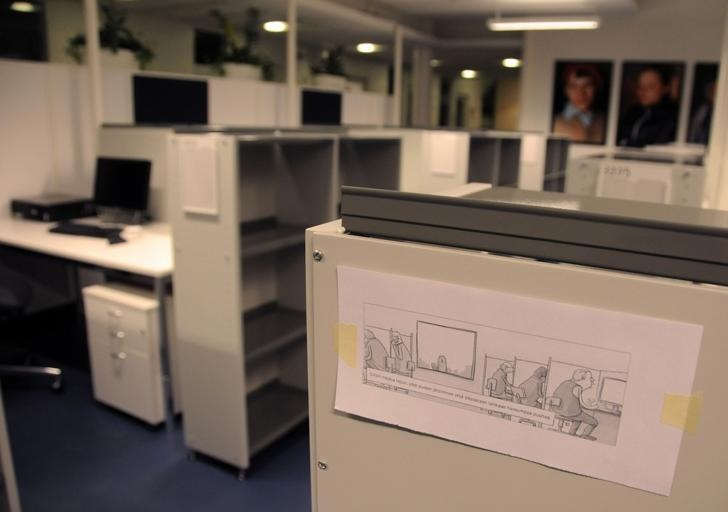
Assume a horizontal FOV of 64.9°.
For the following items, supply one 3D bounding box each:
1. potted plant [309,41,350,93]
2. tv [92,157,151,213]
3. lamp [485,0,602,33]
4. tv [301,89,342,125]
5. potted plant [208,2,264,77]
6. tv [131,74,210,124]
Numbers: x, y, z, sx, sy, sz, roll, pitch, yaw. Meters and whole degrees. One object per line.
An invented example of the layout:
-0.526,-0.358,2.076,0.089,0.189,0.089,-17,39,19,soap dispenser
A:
-0.106,-0.534,1.628,0.062,0.122,0.203,-6,15,-24,potted plant
-1.211,-0.353,2.893,0.313,0.292,0.075,8,2,19,tv
0.354,-0.487,1.155,0.226,0.064,0.112,5,14,21,lamp
-0.155,-0.524,2.020,0.187,0.127,0.016,-11,18,-41,tv
-0.669,-1.149,3.014,0.454,0.329,0.283,16,22,40,potted plant
-1.105,-0.884,3.197,0.302,0.213,0.045,-1,-1,-13,tv
